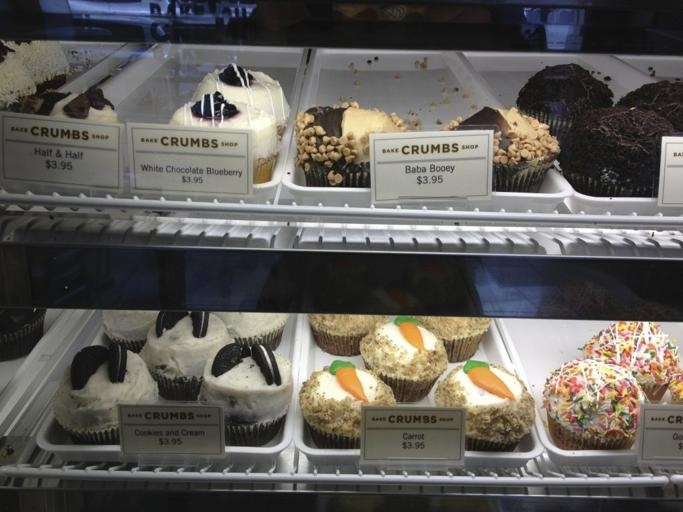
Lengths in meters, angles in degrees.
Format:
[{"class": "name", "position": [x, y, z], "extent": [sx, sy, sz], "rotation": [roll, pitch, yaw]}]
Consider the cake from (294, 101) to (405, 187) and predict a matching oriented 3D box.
[{"class": "cake", "position": [0.013, -0.245, 1.216], "extent": [0.263, 0.151, 0.167], "rotation": [5, 28, 14]}]

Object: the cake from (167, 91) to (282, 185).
[{"class": "cake", "position": [-0.231, -0.279, 1.156], "extent": [0.213, 0.152, 0.212], "rotation": [5, 37, -12]}]

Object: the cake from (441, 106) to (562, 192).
[{"class": "cake", "position": [0.353, -0.243, 1.298], "extent": [0.310, 0.201, 0.298], "rotation": [5, 9, 5]}]
